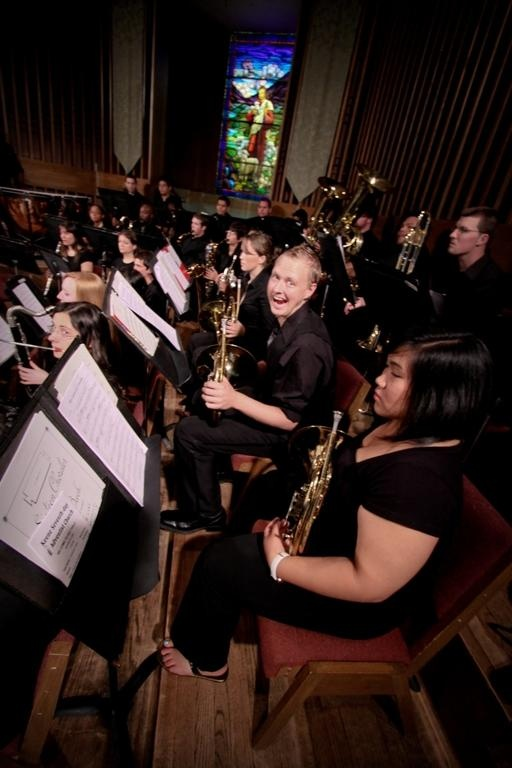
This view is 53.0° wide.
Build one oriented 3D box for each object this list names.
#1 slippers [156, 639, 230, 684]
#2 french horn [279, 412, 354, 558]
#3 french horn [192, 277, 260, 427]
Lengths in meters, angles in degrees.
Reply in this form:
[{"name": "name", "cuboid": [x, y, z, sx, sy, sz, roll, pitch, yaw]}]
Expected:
[{"name": "slippers", "cuboid": [-0.221, 1.086, 2.013, 0.315, 0.083, 0.133, 17, 46, -14]}, {"name": "french horn", "cuboid": [0.269, 0.390, 2.009, 0.223, 0.275, 0.577, 33, 71, -24]}, {"name": "french horn", "cuboid": [-0.172, -0.166, 3.206, 0.466, 0.967, 0.486, 2, 19, -9]}]
